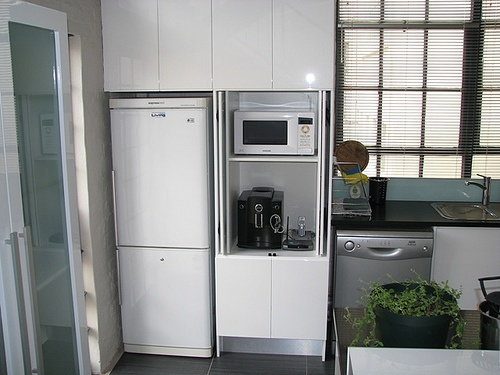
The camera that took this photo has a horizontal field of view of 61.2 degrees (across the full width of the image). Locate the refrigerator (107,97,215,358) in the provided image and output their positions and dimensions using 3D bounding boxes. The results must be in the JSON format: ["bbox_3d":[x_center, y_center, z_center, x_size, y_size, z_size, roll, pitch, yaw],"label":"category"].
[{"bbox_3d":[-0.637,0.283,3.461,0.686,1.972,0.704,1,8,7],"label":"refrigerator"}]

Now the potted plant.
[{"bbox_3d":[0.632,0.523,1.795,0.517,0.310,0.447,3,7,23],"label":"potted plant"}]
